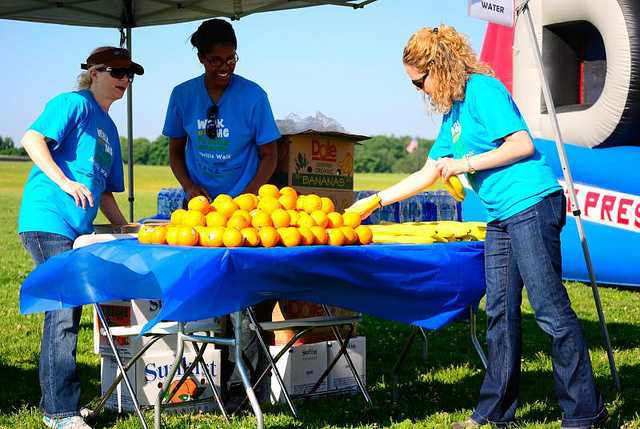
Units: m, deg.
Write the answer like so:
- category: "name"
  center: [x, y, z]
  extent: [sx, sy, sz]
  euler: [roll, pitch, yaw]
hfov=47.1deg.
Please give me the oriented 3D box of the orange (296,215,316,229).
- category: "orange"
  center: [-0.103, 0.064, 5.863]
  extent: [0.100, 0.104, 0.098]
  euler: [-2, -3, -16]

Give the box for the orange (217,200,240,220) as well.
- category: "orange"
  center: [-0.745, -0.040, 5.899]
  extent: [0.139, 0.174, 0.140]
  euler: [0, 0, 1]

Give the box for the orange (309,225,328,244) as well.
- category: "orange"
  center: [-0.001, 0.161, 5.774]
  extent: [0.126, 0.152, 0.128]
  euler: [-2, 4, 18]

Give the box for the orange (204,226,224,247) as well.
- category: "orange"
  center: [-0.793, 0.173, 5.533]
  extent: [0.123, 0.135, 0.145]
  euler: [-4, -23, -3]

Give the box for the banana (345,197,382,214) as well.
- category: "banana"
  center: [0.393, -0.070, 6.391]
  extent: [0.320, 0.086, 0.119]
  euler: [-18, 30, -1]

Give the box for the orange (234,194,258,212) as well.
- category: "orange"
  center: [-0.598, -0.093, 6.018]
  extent: [0.141, 0.079, 0.146]
  euler: [2, 9, 2]

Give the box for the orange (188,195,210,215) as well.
- category: "orange"
  center: [-0.971, -0.081, 5.973]
  extent: [0.140, 0.153, 0.170]
  euler: [-20, 5, 28]

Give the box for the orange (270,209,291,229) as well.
- category: "orange"
  center: [-0.313, 0.037, 5.810]
  extent: [0.136, 0.169, 0.139]
  euler: [4, 3, 17]

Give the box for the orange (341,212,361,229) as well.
- category: "orange"
  center: [0.272, 0.051, 6.116]
  extent: [0.137, 0.111, 0.105]
  euler: [5, 26, -2]

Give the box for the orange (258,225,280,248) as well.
- category: "orange"
  center: [-0.384, 0.181, 5.599]
  extent: [0.139, 0.168, 0.147]
  euler: [0, 0, 5]

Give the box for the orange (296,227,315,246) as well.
- category: "orange"
  center: [-0.103, 0.172, 5.767]
  extent: [0.104, 0.107, 0.136]
  euler: [-25, 36, -29]

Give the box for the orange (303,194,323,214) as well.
- category: "orange"
  center: [-0.056, -0.086, 6.123]
  extent: [0.130, 0.163, 0.133]
  euler: [1, -7, -3]

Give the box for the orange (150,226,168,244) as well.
- category: "orange"
  center: [-1.251, 0.165, 5.696]
  extent: [0.123, 0.149, 0.125]
  euler: [5, 12, 22]

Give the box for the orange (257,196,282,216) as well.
- category: "orange"
  center: [-0.420, -0.067, 5.994]
  extent: [0.165, 0.140, 0.149]
  euler: [-3, -23, 0]

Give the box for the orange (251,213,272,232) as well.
- category: "orange"
  center: [-0.462, 0.057, 5.764]
  extent: [0.127, 0.155, 0.127]
  euler: [-16, 9, -39]

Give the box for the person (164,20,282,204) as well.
- category: "person"
  center: [-0.980, -0.965, 6.930]
  extent: [1.079, 1.637, 0.581]
  euler: [2, 3, 27]

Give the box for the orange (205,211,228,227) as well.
- category: "orange"
  center: [-0.804, 0.016, 5.707]
  extent: [0.146, 0.123, 0.127]
  euler: [8, 14, -10]

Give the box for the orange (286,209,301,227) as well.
- category: "orange"
  center: [-0.211, 0.030, 5.951]
  extent: [0.110, 0.138, 0.117]
  euler: [13, 16, 33]

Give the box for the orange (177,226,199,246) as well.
- category: "orange"
  center: [-0.992, 0.147, 5.643]
  extent: [0.135, 0.155, 0.129]
  euler: [21, 13, 5]

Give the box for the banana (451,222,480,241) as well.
- category: "banana"
  center: [1.264, 0.147, 6.471]
  extent: [0.131, 0.055, 0.196]
  euler: [7, 11, -37]

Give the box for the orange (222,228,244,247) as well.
- category: "orange"
  center: [-0.651, 0.178, 5.490]
  extent: [0.123, 0.136, 0.132]
  euler: [2, 14, 32]

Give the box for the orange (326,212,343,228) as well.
- category: "orange"
  center: [0.121, 0.050, 6.068]
  extent: [0.113, 0.139, 0.116]
  euler: [2, -20, -17]

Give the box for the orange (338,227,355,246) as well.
- category: "orange"
  center: [0.222, 0.178, 5.929]
  extent: [0.126, 0.072, 0.127]
  euler: [14, 6, 33]

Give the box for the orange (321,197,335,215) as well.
- category: "orange"
  center: [0.075, -0.069, 6.284]
  extent: [0.115, 0.139, 0.118]
  euler: [-10, 5, -8]

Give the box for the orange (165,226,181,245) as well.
- category: "orange"
  center: [-1.136, 0.167, 5.635]
  extent: [0.119, 0.147, 0.120]
  euler: [-12, -9, 43]

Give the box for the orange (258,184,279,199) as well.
- category: "orange"
  center: [-0.435, -0.192, 6.146]
  extent: [0.124, 0.124, 0.123]
  euler: [-4, 37, 6]

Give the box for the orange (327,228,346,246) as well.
- category: "orange"
  center: [0.139, 0.178, 5.833]
  extent: [0.120, 0.067, 0.125]
  euler: [16, 51, 10]

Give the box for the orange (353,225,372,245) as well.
- category: "orange"
  center: [0.359, 0.168, 6.056]
  extent: [0.143, 0.152, 0.130]
  euler: [1, 4, 13]

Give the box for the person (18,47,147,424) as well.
- category: "person"
  center: [-2.105, 0.170, 6.391]
  extent: [0.961, 3.232, 1.088]
  euler: [-1, 3, -21]

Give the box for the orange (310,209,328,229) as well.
- category: "orange"
  center: [-0.006, 0.034, 5.933]
  extent: [0.123, 0.148, 0.126]
  euler: [-5, 9, -9]

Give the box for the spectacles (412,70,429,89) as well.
- category: "spectacles"
  center: [0.830, -1.100, 6.025]
  extent: [0.113, 0.034, 0.108]
  euler: [-43, 14, -10]

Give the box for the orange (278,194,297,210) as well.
- category: "orange"
  center: [-0.261, -0.098, 6.101]
  extent: [0.121, 0.146, 0.123]
  euler: [3, 15, 42]

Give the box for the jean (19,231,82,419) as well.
- category: "jean"
  center: [-2.194, 0.876, 6.278]
  extent: [0.547, 1.574, 0.588]
  euler: [3, -5, -30]

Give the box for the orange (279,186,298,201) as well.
- category: "orange"
  center: [-0.261, -0.192, 6.269]
  extent: [0.115, 0.145, 0.117]
  euler: [2, -20, -18]

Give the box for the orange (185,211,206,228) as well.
- category: "orange"
  center: [-0.978, 0.040, 5.755]
  extent: [0.145, 0.124, 0.131]
  euler: [-12, 45, 16]

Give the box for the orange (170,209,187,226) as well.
- category: "orange"
  center: [-1.160, 0.027, 5.905]
  extent: [0.117, 0.148, 0.118]
  euler: [6, -9, -34]

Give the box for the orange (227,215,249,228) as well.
- category: "orange"
  center: [-0.634, 0.053, 5.701]
  extent: [0.124, 0.111, 0.102]
  euler: [-33, 1, 0]

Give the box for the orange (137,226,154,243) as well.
- category: "orange"
  center: [-1.380, 0.160, 5.806]
  extent: [0.109, 0.133, 0.111]
  euler: [-4, 6, -27]

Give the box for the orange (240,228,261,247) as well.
- category: "orange"
  center: [-0.525, 0.178, 5.567]
  extent: [0.125, 0.071, 0.129]
  euler: [14, 8, -10]
